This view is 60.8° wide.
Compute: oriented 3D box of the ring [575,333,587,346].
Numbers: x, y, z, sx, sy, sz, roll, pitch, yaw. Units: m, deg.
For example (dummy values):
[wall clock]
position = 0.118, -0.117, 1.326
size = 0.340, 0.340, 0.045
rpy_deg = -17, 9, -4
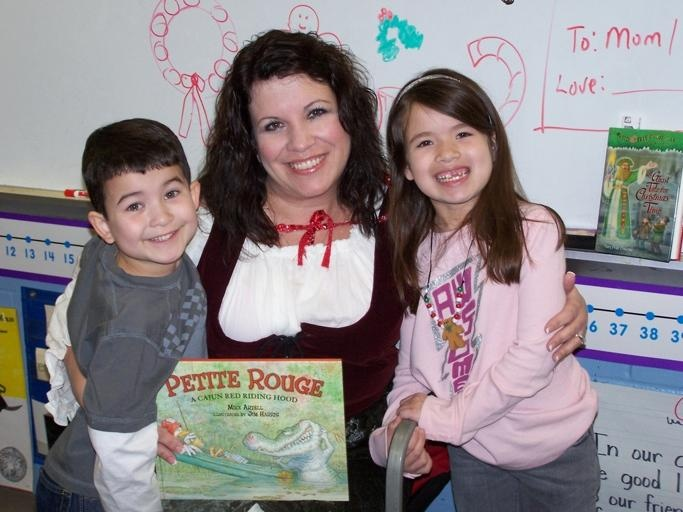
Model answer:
[ring]
position = 0.692, 0.237, 1.688
size = 0.028, 0.044, 0.030
rpy_deg = -3, -4, 0

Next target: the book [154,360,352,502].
[book]
position = -0.244, 0.448, 1.525
size = 0.334, 0.287, 0.037
rpy_deg = -1, 11, 4

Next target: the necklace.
[necklace]
position = 0.303, 0.102, 1.723
size = 0.115, 0.397, 0.052
rpy_deg = -3, 25, 10
